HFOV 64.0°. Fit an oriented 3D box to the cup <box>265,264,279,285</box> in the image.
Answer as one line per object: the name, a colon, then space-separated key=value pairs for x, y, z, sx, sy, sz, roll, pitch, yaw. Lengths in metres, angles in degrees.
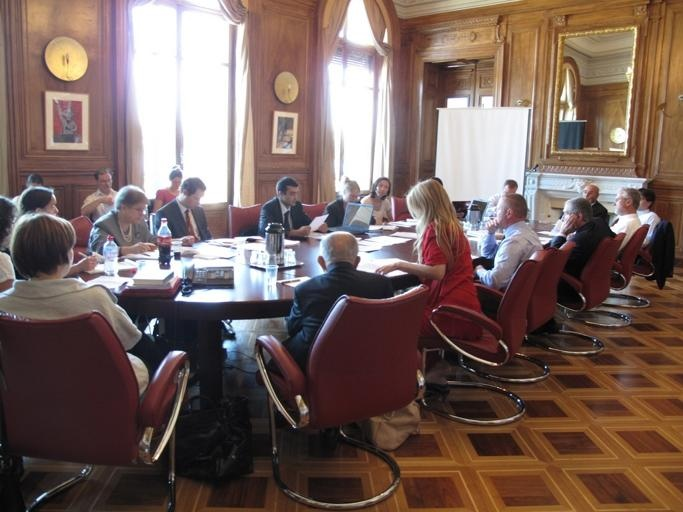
cup: x=-0.458 y=0.126 z=3.704 sx=0.107 sy=0.148 sz=0.107 roll=0 pitch=13 yaw=0

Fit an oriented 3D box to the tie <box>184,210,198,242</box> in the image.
tie: x=-1.391 y=-0.278 z=5.095 sx=0.094 sy=0.274 sz=0.191 roll=-22 pitch=7 yaw=-21

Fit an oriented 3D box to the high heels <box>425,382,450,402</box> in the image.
high heels: x=0.694 y=0.980 z=3.954 sx=0.165 sy=0.058 sz=0.106 roll=2 pitch=15 yaw=6

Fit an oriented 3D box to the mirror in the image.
mirror: x=3.896 y=-2.521 z=8.521 sx=1.132 sy=1.853 sz=0.171 roll=7 pitch=14 yaw=35

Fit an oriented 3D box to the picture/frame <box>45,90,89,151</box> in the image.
picture/frame: x=-3.018 y=-1.507 z=6.025 sx=0.028 sy=0.846 sz=0.616 roll=6 pitch=10 yaw=35

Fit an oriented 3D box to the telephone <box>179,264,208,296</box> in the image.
telephone: x=-0.933 y=0.162 z=3.427 sx=0.119 sy=0.050 sz=0.207 roll=13 pitch=41 yaw=-13

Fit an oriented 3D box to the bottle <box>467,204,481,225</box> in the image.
bottle: x=1.548 y=-0.477 z=6.295 sx=0.152 sy=0.302 sz=0.283 roll=-2 pitch=8 yaw=-4

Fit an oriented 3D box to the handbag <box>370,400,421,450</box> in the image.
handbag: x=0.335 y=1.055 z=3.449 sx=0.366 sy=0.139 sz=0.270 roll=-14 pitch=22 yaw=-33

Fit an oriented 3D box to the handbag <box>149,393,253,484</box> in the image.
handbag: x=-0.745 y=1.031 z=3.131 sx=0.429 sy=0.464 sz=0.316 roll=1 pitch=3 yaw=3
